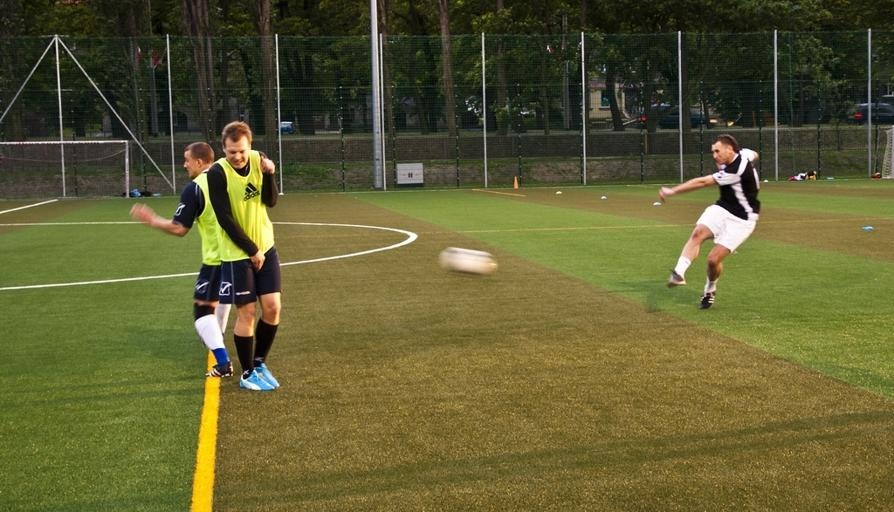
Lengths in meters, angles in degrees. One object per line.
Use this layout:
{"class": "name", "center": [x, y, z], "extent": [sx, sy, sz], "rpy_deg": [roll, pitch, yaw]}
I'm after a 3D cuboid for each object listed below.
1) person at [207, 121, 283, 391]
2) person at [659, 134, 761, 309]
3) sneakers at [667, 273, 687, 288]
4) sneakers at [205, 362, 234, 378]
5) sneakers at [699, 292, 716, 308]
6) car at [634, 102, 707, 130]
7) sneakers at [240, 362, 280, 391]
{"class": "person", "center": [-2.381, 0.025, 9.262], "extent": [0.769, 3.161, 0.394], "rpy_deg": [-3, 9, -13]}
{"class": "person", "center": [4.216, -0.557, 12.335], "extent": [1.344, 2.654, 1.001], "rpy_deg": [1, 8, 11]}
{"class": "sneakers", "center": [3.773, 0.391, 12.653], "extent": [0.431, 0.216, 0.171], "rpy_deg": [-1, 3, 0]}
{"class": "sneakers", "center": [-2.804, 1.413, 9.704], "extent": [0.465, 0.184, 0.153], "rpy_deg": [-1, -7, 10]}
{"class": "sneakers", "center": [4.074, 0.680, 12.202], "extent": [0.351, 0.241, 0.143], "rpy_deg": [-6, 10, -38]}
{"class": "car", "center": [10.296, -6.450, 35.992], "extent": [3.233, 0.863, 1.241], "rpy_deg": [-1, 8, 1]}
{"class": "sneakers", "center": [-2.261, 1.465, 9.429], "extent": [0.413, 0.165, 0.265], "rpy_deg": [5, 8, 19]}
